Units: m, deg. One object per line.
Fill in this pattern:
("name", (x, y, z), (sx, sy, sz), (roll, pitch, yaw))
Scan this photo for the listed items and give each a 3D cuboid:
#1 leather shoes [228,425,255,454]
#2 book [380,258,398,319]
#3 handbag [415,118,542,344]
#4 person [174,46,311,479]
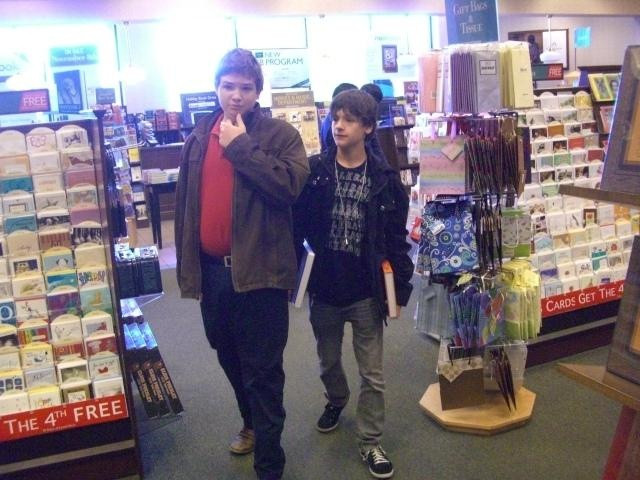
("leather shoes", (-0.482, 1.243, 2.996), (0.094, 0.096, 0.211), (2, 1, 11))
("book", (0.392, 0.277, 2.712), (0.081, 0.289, 0.153), (-1, 14, 8))
("handbag", (1.013, -0.032, 3.064), (0.802, 1.488, 0.528), (0, 14, 11))
("person", (-0.419, 0.190, 2.633), (0.693, 2.330, 0.518), (4, 16, 27))
